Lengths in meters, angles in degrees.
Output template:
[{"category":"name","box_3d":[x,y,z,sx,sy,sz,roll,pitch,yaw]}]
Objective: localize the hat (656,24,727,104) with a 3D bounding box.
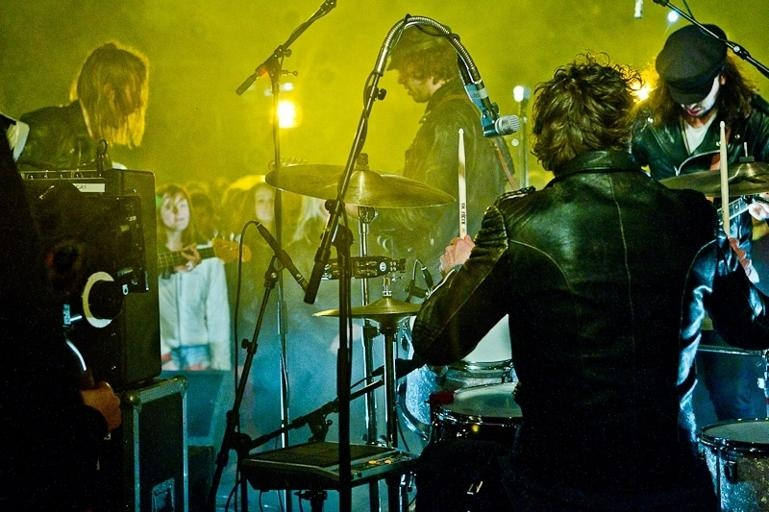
[{"category":"hat","box_3d":[1.796,-1.134,4.236,0.377,0.462,0.152,12,6,36]}]

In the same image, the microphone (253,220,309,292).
[{"category":"microphone","box_3d":[-0.731,0.006,5.200,0.088,0.761,0.156,-2,-45,-46]}]

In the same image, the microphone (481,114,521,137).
[{"category":"microphone","box_3d":[0.539,-0.604,3.368,0.167,0.066,0.093,-4,-4,32]}]

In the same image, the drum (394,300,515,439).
[{"category":"drum","box_3d":[0.387,0.672,4.197,0.803,0.709,0.767,1,7,9]}]
